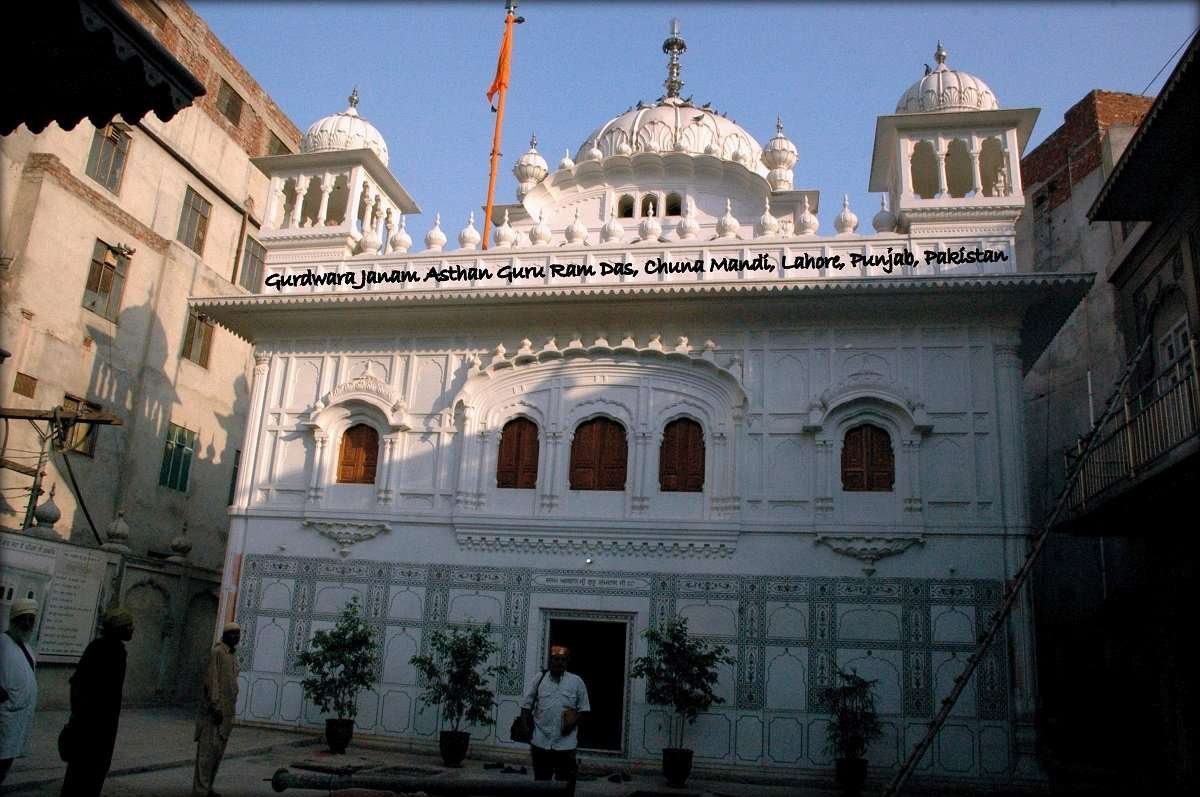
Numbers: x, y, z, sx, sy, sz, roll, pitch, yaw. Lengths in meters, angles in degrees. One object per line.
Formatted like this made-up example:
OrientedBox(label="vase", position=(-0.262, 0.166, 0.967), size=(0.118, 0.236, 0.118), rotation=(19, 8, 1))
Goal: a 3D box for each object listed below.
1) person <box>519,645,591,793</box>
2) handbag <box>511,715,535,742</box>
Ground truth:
OrientedBox(label="person", position=(-0.638, 4.658, 16.249), size=(0.899, 1.875, 0.479), rotation=(2, -18, 0))
OrientedBox(label="handbag", position=(-1.116, 4.774, 15.965), size=(0.277, 0.361, 0.150), rotation=(8, -19, -17))
